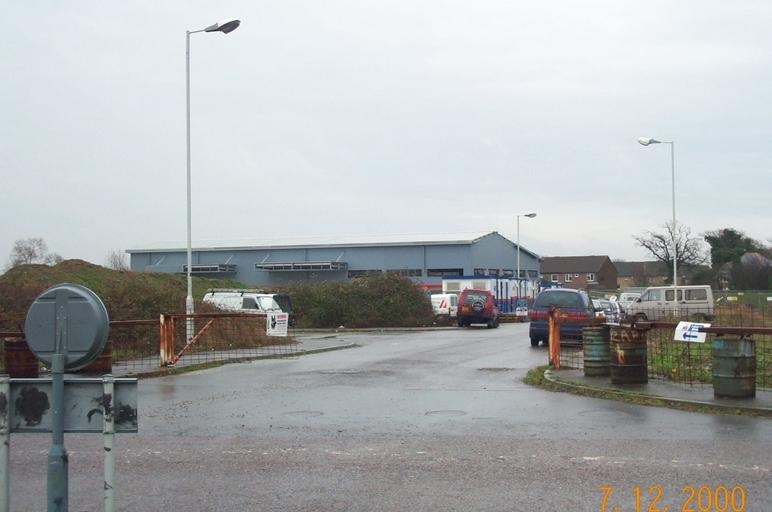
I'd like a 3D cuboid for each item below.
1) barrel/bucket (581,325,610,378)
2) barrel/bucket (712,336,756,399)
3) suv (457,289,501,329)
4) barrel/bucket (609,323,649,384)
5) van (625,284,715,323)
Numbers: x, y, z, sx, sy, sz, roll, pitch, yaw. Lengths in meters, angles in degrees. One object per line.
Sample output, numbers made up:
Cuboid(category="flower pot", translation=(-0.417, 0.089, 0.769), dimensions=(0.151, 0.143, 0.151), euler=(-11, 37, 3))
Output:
Cuboid(category="barrel/bucket", translation=(5.332, 2.432, 32.257), dimensions=(0.848, 1.363, 0.813), euler=(1, -2, 0))
Cuboid(category="barrel/bucket", translation=(8.060, 2.541, 28.997), dimensions=(0.962, 1.443, 0.538), euler=(-3, -3, 14))
Cuboid(category="suv", translation=(4.294, 2.279, 56.927), dimensions=(1.121, 1.162, 2.179), euler=(0, 1, 17))
Cuboid(category="barrel/bucket", translation=(6.021, 2.435, 31.129), dimensions=(0.906, 1.450, 0.923), euler=(-1, -3, 0))
Cuboid(category="van", translation=(12.692, 2.076, 55.855), dimensions=(4.319, 2.341, 2.781), euler=(2, -3, 15))
